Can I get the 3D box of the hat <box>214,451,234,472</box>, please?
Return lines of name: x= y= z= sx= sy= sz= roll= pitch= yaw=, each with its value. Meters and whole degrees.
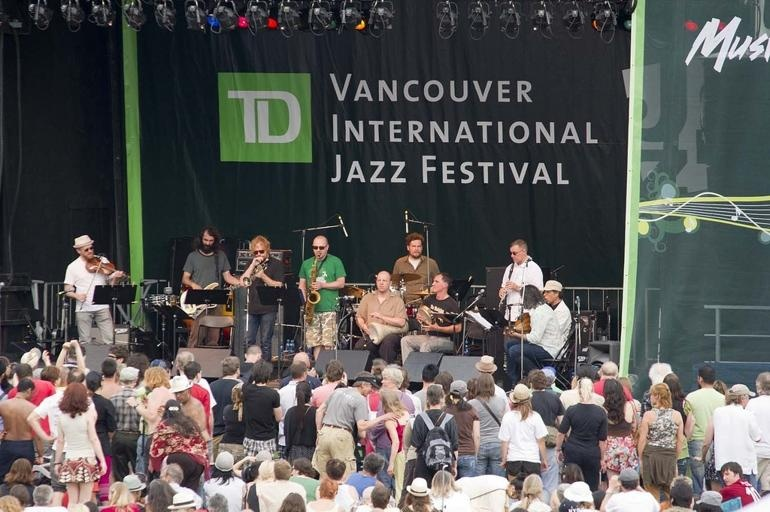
hat: x=-2.522 y=3.147 z=27.926 sx=0.230 sy=0.203 sz=0.315 roll=4 pitch=12 yaw=-11

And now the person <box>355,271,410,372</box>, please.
person: x=-0.050 y=1.233 z=33.653 sx=1.087 sy=2.269 sz=1.325 roll=-6 pitch=-29 yaw=12

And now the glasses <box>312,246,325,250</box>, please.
glasses: x=-1.319 y=-0.209 z=34.587 sx=0.244 sy=0.077 sz=0.126 roll=-1 pitch=2 yaw=32

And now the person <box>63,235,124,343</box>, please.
person: x=-5.676 y=0.595 z=34.663 sx=1.026 sy=2.061 sz=0.600 roll=-2 pitch=2 yaw=-9

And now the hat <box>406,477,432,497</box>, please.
hat: x=0.499 y=3.433 z=27.095 sx=0.341 sy=0.271 sz=0.260 roll=-2 pitch=2 yaw=1

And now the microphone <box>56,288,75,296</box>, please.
microphone: x=-6.184 y=0.639 z=34.749 sx=0.279 sy=0.120 sz=0.902 roll=-3 pitch=2 yaw=-15

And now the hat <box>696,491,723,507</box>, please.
hat: x=4.932 y=3.653 z=27.377 sx=0.281 sy=0.150 sz=0.208 roll=3 pitch=1 yaw=11

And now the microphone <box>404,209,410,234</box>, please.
microphone: x=0.421 y=-0.791 z=37.484 sx=0.088 sy=0.487 sz=0.044 roll=-2 pitch=2 yaw=0

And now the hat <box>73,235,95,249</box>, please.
hat: x=-5.906 y=-0.290 z=34.749 sx=0.283 sy=0.130 sz=0.332 roll=-25 pitch=8 yaw=-33

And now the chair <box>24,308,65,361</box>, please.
chair: x=-6.498 y=1.446 z=34.511 sx=0.880 sy=1.175 sz=0.720 roll=-1 pitch=1 yaw=38

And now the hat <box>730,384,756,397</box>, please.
hat: x=5.864 y=2.212 z=29.459 sx=0.383 sy=0.144 sz=0.253 roll=9 pitch=0 yaw=-25

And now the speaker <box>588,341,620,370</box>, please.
speaker: x=3.942 y=1.758 z=32.650 sx=0.402 sy=0.533 sz=0.534 roll=2 pitch=-2 yaw=-33

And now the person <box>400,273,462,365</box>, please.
person: x=0.845 y=1.342 z=33.863 sx=1.092 sy=2.099 sz=0.929 roll=-4 pitch=7 yaw=-40

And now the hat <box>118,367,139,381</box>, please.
hat: x=-4.215 y=1.893 z=29.427 sx=0.300 sy=0.241 sz=0.208 roll=-2 pitch=2 yaw=-11

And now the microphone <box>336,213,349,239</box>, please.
microphone: x=-0.909 y=-0.676 z=37.454 sx=0.171 sy=0.540 sz=0.046 roll=-21 pitch=-3 yaw=30

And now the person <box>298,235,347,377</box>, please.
person: x=-1.332 y=0.897 z=34.838 sx=0.881 sy=2.621 sz=0.813 roll=4 pitch=19 yaw=15

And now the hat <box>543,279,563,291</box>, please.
hat: x=3.079 y=0.480 z=32.895 sx=0.275 sy=0.136 sz=0.202 roll=9 pitch=-8 yaw=-23

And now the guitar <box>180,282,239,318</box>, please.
guitar: x=-3.450 y=0.825 z=34.459 sx=0.993 sy=0.634 sz=1.918 roll=-2 pitch=2 yaw=-6

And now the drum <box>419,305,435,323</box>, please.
drum: x=0.736 y=1.051 z=33.678 sx=0.180 sy=0.311 sz=0.352 roll=-3 pitch=2 yaw=-27

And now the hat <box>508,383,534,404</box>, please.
hat: x=2.176 y=2.172 z=29.051 sx=0.343 sy=0.329 sz=0.521 roll=-2 pitch=2 yaw=4

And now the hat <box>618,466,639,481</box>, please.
hat: x=3.735 y=3.309 z=27.740 sx=0.294 sy=0.161 sz=0.375 roll=-2 pitch=2 yaw=4

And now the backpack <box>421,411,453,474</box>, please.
backpack: x=0.798 y=2.886 z=28.280 sx=0.475 sy=0.914 sz=0.422 roll=-2 pitch=2 yaw=0

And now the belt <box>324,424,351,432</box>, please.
belt: x=-0.777 y=2.721 z=28.937 sx=0.421 sy=0.124 sz=0.084 roll=-2 pitch=2 yaw=-4

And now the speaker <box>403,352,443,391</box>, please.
speaker: x=0.559 y=2.004 z=32.015 sx=0.643 sy=0.684 sz=0.679 roll=-2 pitch=-8 yaw=32

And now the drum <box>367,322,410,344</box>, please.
drum: x=0.000 y=1.399 z=33.769 sx=0.562 sy=0.229 sz=0.329 roll=-5 pitch=5 yaw=-24

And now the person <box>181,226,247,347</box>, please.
person: x=-3.527 y=0.356 z=35.220 sx=1.023 sy=2.618 sz=0.359 roll=0 pitch=-14 yaw=-2

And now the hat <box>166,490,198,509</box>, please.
hat: x=-3.066 y=3.641 z=27.045 sx=0.290 sy=0.114 sz=0.257 roll=-6 pitch=5 yaw=-35

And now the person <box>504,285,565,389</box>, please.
person: x=2.662 y=1.437 z=32.839 sx=1.065 sy=1.942 sz=0.969 roll=1 pitch=11 yaw=9

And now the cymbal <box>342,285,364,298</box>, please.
cymbal: x=-0.657 y=0.609 z=34.770 sx=0.292 sy=0.075 sz=0.296 roll=1 pitch=-13 yaw=31

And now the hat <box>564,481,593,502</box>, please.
hat: x=2.913 y=3.537 z=27.268 sx=0.339 sy=0.123 sz=0.304 roll=-2 pitch=15 yaw=-11

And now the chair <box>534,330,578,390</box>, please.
chair: x=3.252 y=1.944 z=32.921 sx=1.084 sy=1.384 sz=0.868 roll=0 pitch=-2 yaw=-2

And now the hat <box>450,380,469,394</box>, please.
hat: x=1.159 y=2.079 z=28.985 sx=0.257 sy=0.226 sz=0.216 roll=-2 pitch=2 yaw=2

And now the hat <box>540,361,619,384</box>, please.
hat: x=3.286 y=1.871 z=29.817 sx=0.934 sy=0.344 sz=0.569 roll=-2 pitch=-1 yaw=3

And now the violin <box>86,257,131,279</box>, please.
violin: x=-5.364 y=0.160 z=34.632 sx=0.747 sy=0.192 sz=0.346 roll=24 pitch=29 yaw=-8
